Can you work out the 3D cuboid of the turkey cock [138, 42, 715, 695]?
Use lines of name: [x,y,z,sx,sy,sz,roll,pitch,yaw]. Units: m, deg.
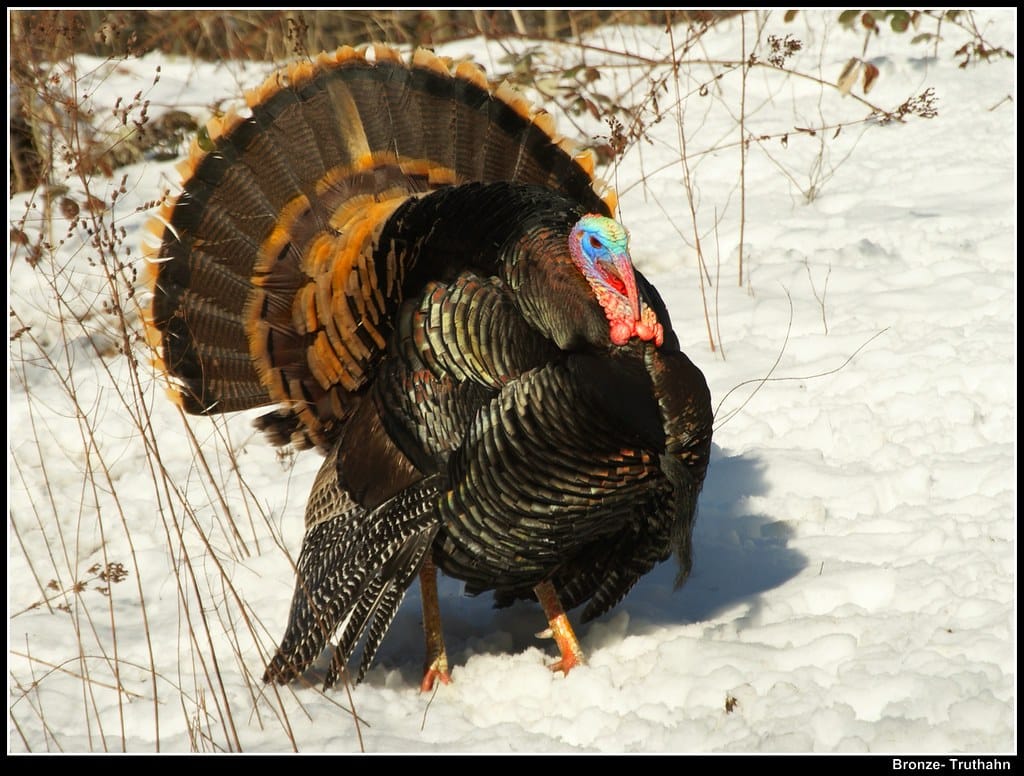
turkey cock: [-0.415,-0.167,6.063,2.474,3.171,1.087,-13,15,6]
